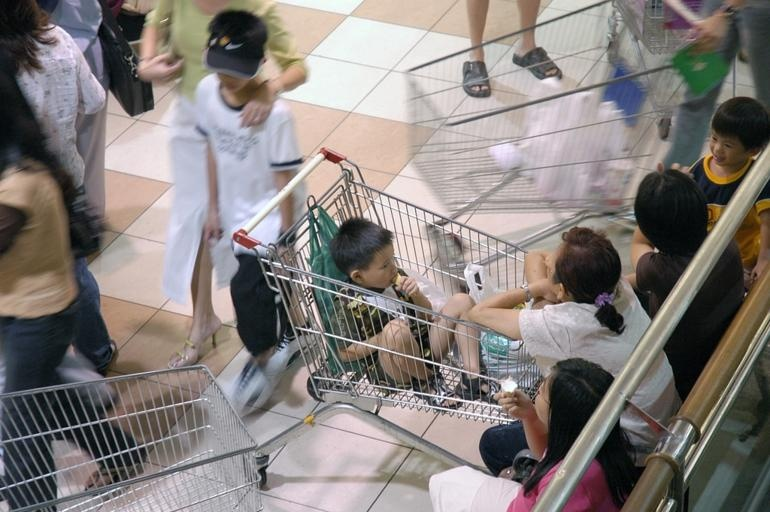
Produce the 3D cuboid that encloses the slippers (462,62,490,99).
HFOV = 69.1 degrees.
[{"bbox_3d":[0.554,-1.124,3.488,0.145,0.146,0.363,-7,46,3],"label":"slippers"}]

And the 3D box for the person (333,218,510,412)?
[{"bbox_3d":[0.148,0.191,2.610,0.889,0.553,0.898,13,-31,-3],"label":"person"}]

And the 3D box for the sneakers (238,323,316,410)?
[{"bbox_3d":[-0.576,0.586,2.957,0.162,0.487,0.208,32,-20,26],"label":"sneakers"}]

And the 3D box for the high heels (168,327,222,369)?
[{"bbox_3d":[-1.074,0.520,3.173,0.261,0.109,0.079,-35,47,-29],"label":"high heels"}]

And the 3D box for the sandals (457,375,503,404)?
[{"bbox_3d":[0.368,0.558,2.366,0.247,0.084,0.098,5,-21,11],"label":"sandals"}]

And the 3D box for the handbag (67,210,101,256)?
[{"bbox_3d":[-1.236,-0.108,2.286,0.139,0.083,0.134,26,-35,2],"label":"handbag"}]

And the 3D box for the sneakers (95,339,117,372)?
[{"bbox_3d":[-1.574,0.557,3.182,0.054,0.161,0.063,12,-22,16],"label":"sneakers"}]

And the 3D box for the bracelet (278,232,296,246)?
[{"bbox_3d":[-0.425,-0.081,2.423,0.067,0.069,0.041,1,15,-28],"label":"bracelet"}]

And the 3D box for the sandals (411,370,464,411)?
[{"bbox_3d":[0.222,0.577,2.333,0.123,0.084,0.213,-7,50,-29],"label":"sandals"}]

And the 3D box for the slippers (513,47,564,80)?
[{"bbox_3d":[0.930,-1.198,3.442,0.248,0.122,0.107,36,-26,10],"label":"slippers"}]

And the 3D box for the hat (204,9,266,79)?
[{"bbox_3d":[-0.708,-1.037,2.672,0.270,0.348,0.286,6,10,-18],"label":"hat"}]
